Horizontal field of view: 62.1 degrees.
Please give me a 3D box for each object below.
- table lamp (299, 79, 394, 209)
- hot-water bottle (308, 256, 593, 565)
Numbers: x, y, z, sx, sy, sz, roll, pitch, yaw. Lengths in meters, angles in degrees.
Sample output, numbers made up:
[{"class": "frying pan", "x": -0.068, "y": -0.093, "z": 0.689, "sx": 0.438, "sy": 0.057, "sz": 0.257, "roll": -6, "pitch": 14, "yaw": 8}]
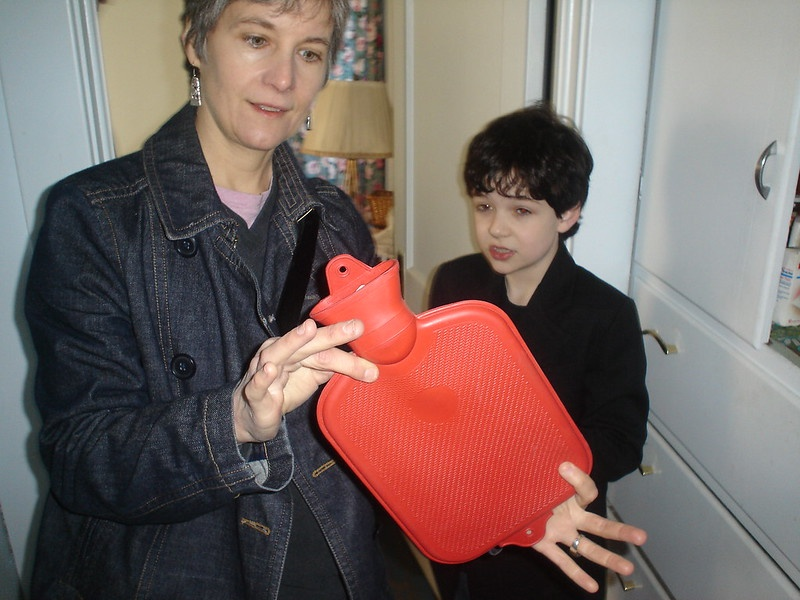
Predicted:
[{"class": "table lamp", "x": -0.194, "y": -0.786, "z": 3.191, "sx": 0.346, "sy": 0.703, "sz": 0.489, "roll": -10, "pitch": 26, "yaw": -24}, {"class": "hot-water bottle", "x": 0.065, "y": 0.187, "z": 1.207, "sx": 0.353, "sy": 0.557, "sz": 0.157, "roll": -35, "pitch": 9, "yaw": 5}]
